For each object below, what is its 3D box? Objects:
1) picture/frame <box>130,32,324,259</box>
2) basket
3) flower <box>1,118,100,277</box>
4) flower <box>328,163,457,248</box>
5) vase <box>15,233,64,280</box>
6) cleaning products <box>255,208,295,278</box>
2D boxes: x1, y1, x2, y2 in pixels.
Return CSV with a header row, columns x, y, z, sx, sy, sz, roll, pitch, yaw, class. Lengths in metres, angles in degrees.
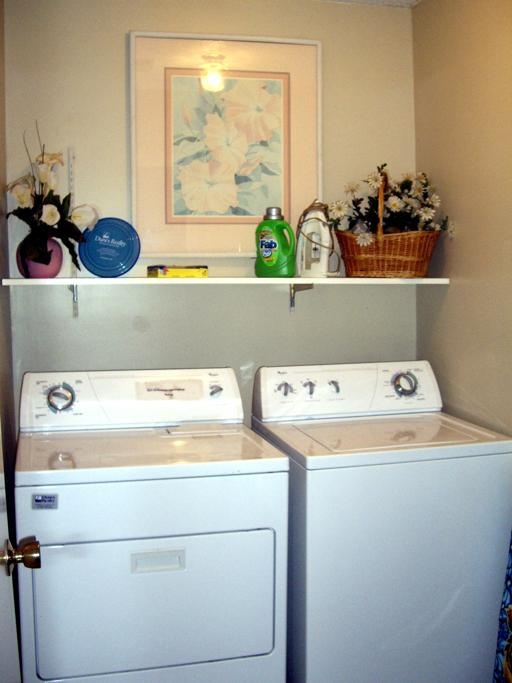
x,y,z,sx,sy,sz,roll,pitch,yaw,class
-0.133,-0.708,1.989,0.790,0.935,0.035,0,0,-15,picture/frame
0.458,-0.376,2.003,0.317,0.371,0.270,-1,0,8,basket
-0.665,-0.463,1.792,0.291,0.493,0.287,-4,11,-15,flower
0.456,-0.394,1.944,0.388,0.359,0.283,-2,9,26,flower
-0.677,-0.261,1.778,0.124,0.128,0.130,-2,-1,24,vase
0.065,-0.333,1.872,0.132,0.228,0.109,-1,10,-1,cleaning products
